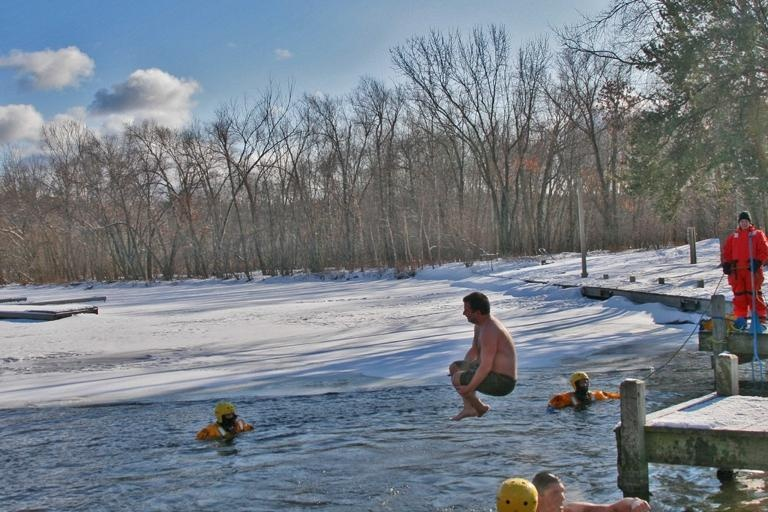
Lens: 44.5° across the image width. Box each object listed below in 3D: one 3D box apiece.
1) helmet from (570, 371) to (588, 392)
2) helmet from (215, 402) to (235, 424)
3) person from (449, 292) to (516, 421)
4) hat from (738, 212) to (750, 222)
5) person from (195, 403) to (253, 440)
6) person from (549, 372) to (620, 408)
[{"bbox_3d":[4.794,3.050,23.110,0.428,0.392,0.443,3,-27,-34],"label":"helmet"},{"bbox_3d":[-3.830,3.694,22.388,0.545,0.413,0.390,0,-2,10],"label":"helmet"},{"bbox_3d":[2.319,2.332,22.461,1.557,3.016,0.642,-8,-1,5],"label":"person"},{"bbox_3d":[9.892,-1.121,25.817,0.359,0.338,0.474,4,9,22],"label":"hat"},{"bbox_3d":[-3.803,3.901,22.411,0.706,0.837,1.679,-3,-2,38],"label":"person"},{"bbox_3d":[4.829,3.292,23.027,2.222,0.826,0.751,-2,-5,-28],"label":"person"}]
